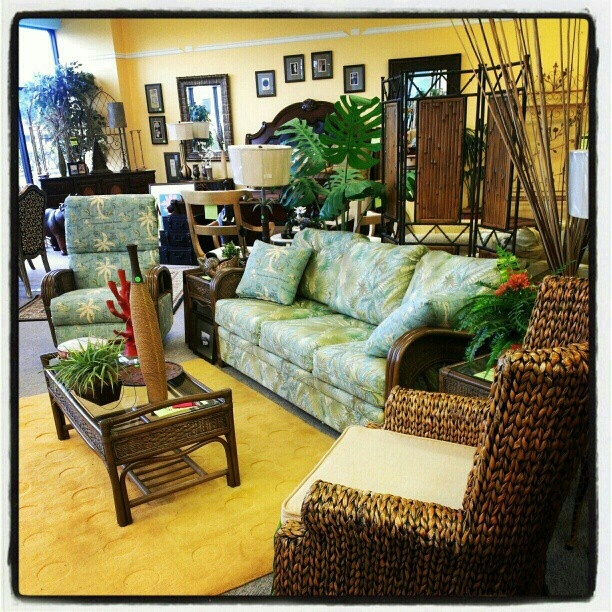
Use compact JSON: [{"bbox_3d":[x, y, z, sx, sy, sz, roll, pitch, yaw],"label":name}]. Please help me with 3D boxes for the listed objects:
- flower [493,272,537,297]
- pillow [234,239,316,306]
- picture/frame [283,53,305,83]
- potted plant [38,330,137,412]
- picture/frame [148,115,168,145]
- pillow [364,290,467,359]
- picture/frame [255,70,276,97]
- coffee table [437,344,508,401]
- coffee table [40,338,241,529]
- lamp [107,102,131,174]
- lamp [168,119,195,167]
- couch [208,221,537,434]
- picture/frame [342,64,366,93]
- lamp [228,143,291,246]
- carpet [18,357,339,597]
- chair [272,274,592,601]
[{"bbox_3d":[0.730,-0.082,1.921,0.096,0.063,0.097,-6,12,34],"label":"flower"},{"bbox_3d":[-0.203,-0.201,3.335,0.418,0.393,0.131,15,-6,35],"label":"pillow"},{"bbox_3d":[-0.153,-3.087,6.865,0.354,0.362,0.028,8,15,31],"label":"picture/frame"},{"bbox_3d":[-0.918,0.259,2.231,0.266,0.193,0.284,11,26,26],"label":"potted plant"},{"bbox_3d":[-2.285,-2.779,8.319,0.455,0.544,0.032,17,29,27],"label":"picture/frame"},{"bbox_3d":[0.409,0.005,2.281,0.368,0.110,0.378,10,25,38],"label":"pillow"},{"bbox_3d":[-0.542,-3.018,7.175,0.335,0.344,0.025,10,20,33],"label":"picture/frame"},{"bbox_3d":[0.564,0.210,1.888,0.111,0.138,0.206,8,14,39],"label":"coffee table"},{"bbox_3d":[-0.655,0.242,2.130,0.542,0.458,0.991,-9,14,-31],"label":"coffee table"},{"bbox_3d":[-2.791,-2.533,8.031,0.245,0.968,0.761,-9,13,-17],"label":"lamp"},{"bbox_3d":[-1.697,-2.211,7.411,0.297,0.558,1.084,-8,12,-11],"label":"lamp"},{"bbox_3d":[0.164,0.097,2.968,0.725,0.867,1.609,-8,17,-31],"label":"couch"},{"bbox_3d":[0.581,-2.818,6.546,0.350,0.399,0.032,5,13,26],"label":"picture/frame"},{"bbox_3d":[-0.297,-0.721,3.760,0.420,0.728,0.469,0,18,3],"label":"lamp"},{"bbox_3d":[-0.422,0.474,1.949,0.827,0.006,0.911,-11,19,-43],"label":"carpet"},{"bbox_3d":[0.322,0.419,1.436,0.769,0.826,0.707,1,15,15],"label":"chair"}]
